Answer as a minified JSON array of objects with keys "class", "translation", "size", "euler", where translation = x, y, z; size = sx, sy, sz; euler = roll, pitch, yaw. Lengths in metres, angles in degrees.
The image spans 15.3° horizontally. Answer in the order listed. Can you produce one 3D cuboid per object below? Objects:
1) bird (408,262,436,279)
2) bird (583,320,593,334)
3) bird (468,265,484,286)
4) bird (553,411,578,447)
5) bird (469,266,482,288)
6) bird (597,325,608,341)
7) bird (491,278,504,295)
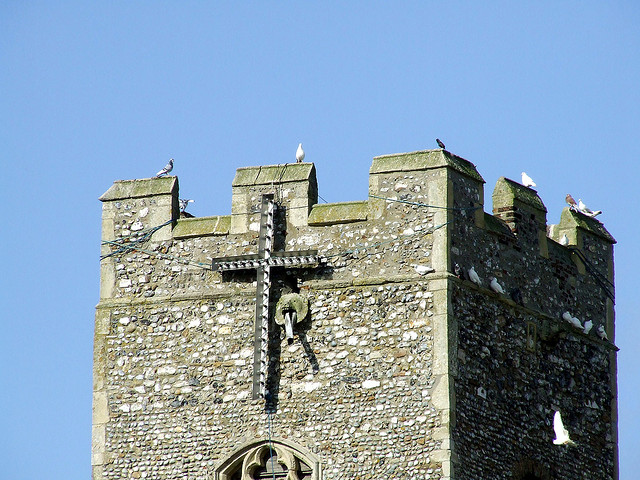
[{"class":"bird","translation":[2.140,0.658,49.857],"size":[0.562,0.367,0.233],"euler":[-6,-15,15]},{"class":"bird","translation":[5.929,1.953,52.645],"size":[0.178,0.266,0.068],"euler":[11,7,-35]},{"class":"bird","translation":[3.304,0.764,50.229],"size":[0.281,0.311,0.177],"euler":[34,-39,-3]},{"class":"bird","translation":[5.265,4.152,51.086],"size":[0.375,0.532,1.304],"euler":[9,14,1]},{"class":"bird","translation":[3.305,0.764,50.215],"size":[0.111,0.466,0.413],"euler":[-20,-37,31]},{"class":"bird","translation":[6.329,2.095,53.124],"size":[0.115,0.445,0.359],"euler":[-16,-35,26]},{"class":"bird","translation":[3.864,0.992,50.564],"size":[0.316,0.319,0.189],"euler":[20,-22,-38]}]
